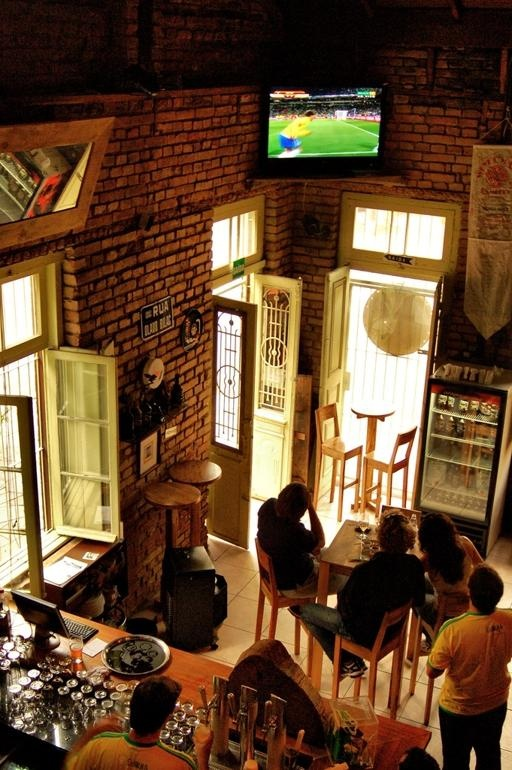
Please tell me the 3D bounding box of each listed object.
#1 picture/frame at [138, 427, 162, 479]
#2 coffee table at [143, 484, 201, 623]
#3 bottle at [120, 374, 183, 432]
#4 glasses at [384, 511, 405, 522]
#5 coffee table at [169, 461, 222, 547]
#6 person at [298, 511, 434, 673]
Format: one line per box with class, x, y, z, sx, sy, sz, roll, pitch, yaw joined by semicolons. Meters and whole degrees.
picture/frame;-0.780;0.482;4.611;0.039;0.377;0.381;6;11;19
coffee table;-0.666;1.229;4.822;0.424;0.953;0.628;5;6;-2
bottle;-0.759;0.175;4.558;0.169;0.212;0.580;8;23;20
glasses;0.768;0.731;3.551;0.056;0.027;0.059;1;7;30
coffee table;-0.518;0.805;4.903;0.246;0.250;0.406;6;30;37
person;0.598;1.225;3.707;0.630;1.058;0.507;13;10;18
